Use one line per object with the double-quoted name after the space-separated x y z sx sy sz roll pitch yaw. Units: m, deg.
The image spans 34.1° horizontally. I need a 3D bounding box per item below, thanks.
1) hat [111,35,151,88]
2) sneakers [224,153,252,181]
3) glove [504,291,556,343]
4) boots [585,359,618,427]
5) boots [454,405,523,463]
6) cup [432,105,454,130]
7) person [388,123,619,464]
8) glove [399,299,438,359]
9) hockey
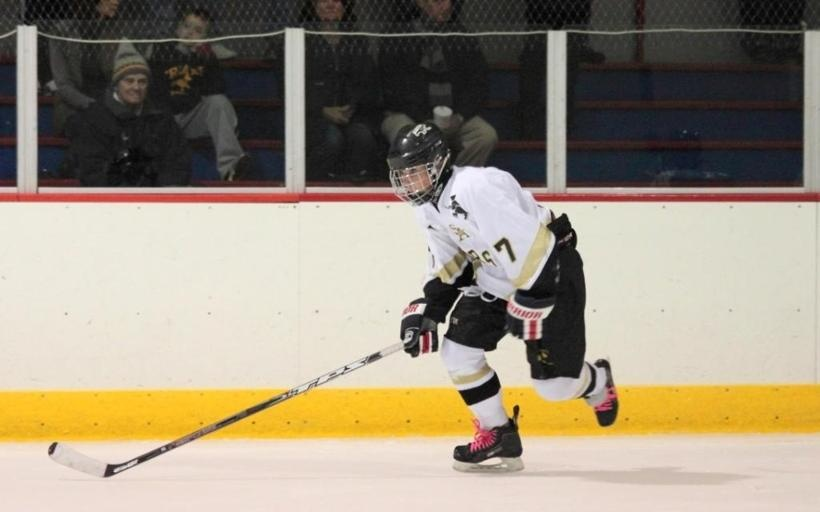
-1.671 -1.177 8.006 0.257 0.262 0.255 -9 1 37 "hat"
-1.011 -0.531 8.014 0.201 0.115 0.094 -19 -9 -5 "sneakers"
0.645 0.339 7.263 0.278 0.245 0.232 2 1 13 "glove"
1.143 0.775 7.665 0.138 0.380 0.170 -2 16 35 "boots"
0.445 1.012 7.528 0.431 0.314 0.155 -8 -4 21 "boots"
0.195 -0.839 8.050 0.143 0.125 0.103 -9 -33 -9 "cup"
0.498 0.122 7.421 1.056 1.726 0.589 0 7 17 "person"
0.038 0.394 7.439 0.121 0.285 0.212 20 -15 -41 "glove"
-1.145 0.898 7.838 1.757 0.194 0.160 -21 -3 1 "hockey"
